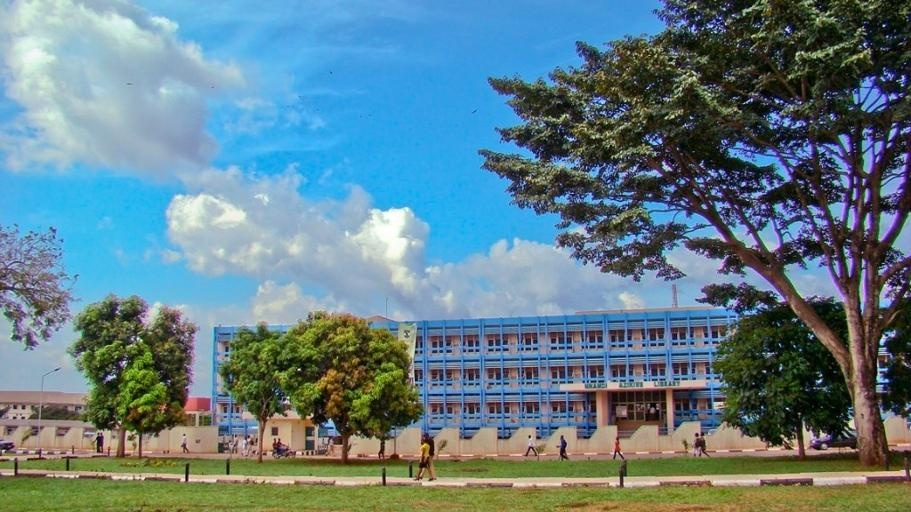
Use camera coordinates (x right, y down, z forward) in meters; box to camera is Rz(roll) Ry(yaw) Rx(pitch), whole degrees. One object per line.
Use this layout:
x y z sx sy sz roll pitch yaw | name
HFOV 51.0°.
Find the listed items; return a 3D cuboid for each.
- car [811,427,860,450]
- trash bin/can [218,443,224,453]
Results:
32.351 15.786 81.546 3.722 1.384 2.235 -11 -18 28 | car
-23.844 19.403 97.454 0.732 0.967 1.867 2 -16 -13 | trash bin/can
